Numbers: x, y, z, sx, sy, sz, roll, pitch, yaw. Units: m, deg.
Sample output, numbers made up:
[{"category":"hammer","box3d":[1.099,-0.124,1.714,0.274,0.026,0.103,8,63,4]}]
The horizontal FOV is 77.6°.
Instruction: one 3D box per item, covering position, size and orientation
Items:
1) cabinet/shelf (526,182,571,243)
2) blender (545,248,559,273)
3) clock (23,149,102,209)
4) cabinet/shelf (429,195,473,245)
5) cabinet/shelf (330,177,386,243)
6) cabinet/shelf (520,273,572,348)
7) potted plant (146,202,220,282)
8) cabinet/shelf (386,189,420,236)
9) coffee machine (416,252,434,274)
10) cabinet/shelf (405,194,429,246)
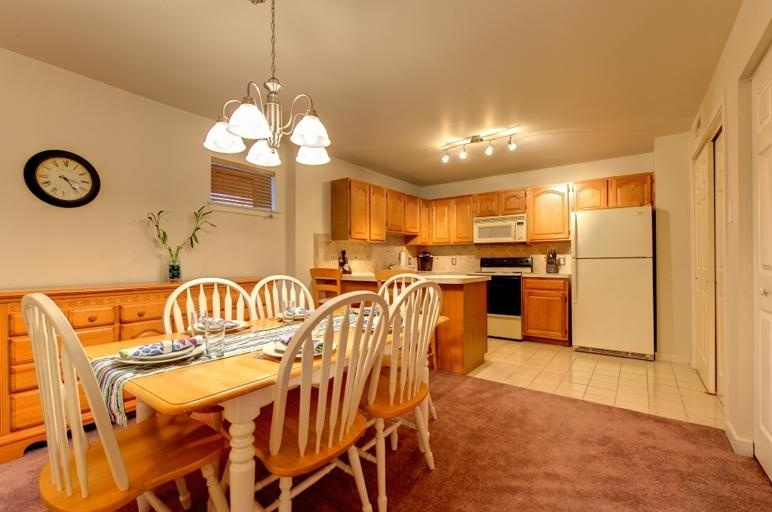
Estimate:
[{"category":"cabinet/shelf","box3d":[2.249,-0.549,6.559,0.651,1.003,0.630,-2,-5,37]},{"category":"blender","box3d":[2.277,0.078,6.556,0.164,0.313,0.173,-3,1,18]},{"category":"clock","box3d":[-2.800,-0.662,4.150,0.451,0.451,0.465,9,-1,29]},{"category":"cabinet/shelf","box3d":[0.969,-0.566,7.341,0.750,0.751,0.263,-6,13,-15]},{"category":"cabinet/shelf","box3d":[-0.341,-0.563,6.332,0.330,0.773,0.888,1,0,31]},{"category":"cabinet/shelf","box3d":[2.208,0.665,6.483,0.704,0.912,0.694,-9,9,-43]},{"category":"potted plant","box3d":[-2.016,-0.083,4.727,0.651,0.671,0.355,-8,-16,9]},{"category":"cabinet/shelf","box3d":[0.253,-0.627,6.913,0.128,0.446,0.916,-2,1,29]},{"category":"coffee machine","box3d":[0.608,0.093,7.606,0.284,0.339,0.246,-6,-7,43]},{"category":"cabinet/shelf","box3d":[0.504,-0.577,7.465,0.263,0.714,0.764,0,-6,32]}]
